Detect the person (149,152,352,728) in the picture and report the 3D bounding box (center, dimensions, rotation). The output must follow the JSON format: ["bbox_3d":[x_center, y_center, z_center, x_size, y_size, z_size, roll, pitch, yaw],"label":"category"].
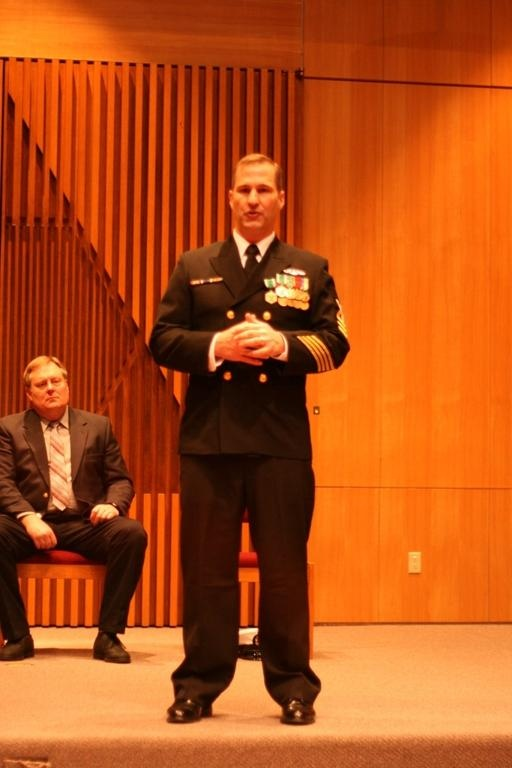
[{"bbox_3d":[-0.017,0.100,1.943,0.446,1.269,0.340,1,-1,-8],"label":"person"}]

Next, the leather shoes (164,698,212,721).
[{"bbox_3d":[-0.146,0.693,1.850,0.044,0.054,0.125,-8,-22,25],"label":"leather shoes"}]

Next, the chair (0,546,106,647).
[{"bbox_3d":[-0.704,0.711,2.997,0.306,0.298,0.317,1,-8,-6],"label":"chair"}]

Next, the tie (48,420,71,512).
[{"bbox_3d":[-0.719,0.315,3.203,0.091,0.412,0.041,4,29,2],"label":"tie"}]

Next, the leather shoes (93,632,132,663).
[{"bbox_3d":[-0.486,0.886,2.915,0.108,0.078,0.203,1,-1,-19],"label":"leather shoes"}]
